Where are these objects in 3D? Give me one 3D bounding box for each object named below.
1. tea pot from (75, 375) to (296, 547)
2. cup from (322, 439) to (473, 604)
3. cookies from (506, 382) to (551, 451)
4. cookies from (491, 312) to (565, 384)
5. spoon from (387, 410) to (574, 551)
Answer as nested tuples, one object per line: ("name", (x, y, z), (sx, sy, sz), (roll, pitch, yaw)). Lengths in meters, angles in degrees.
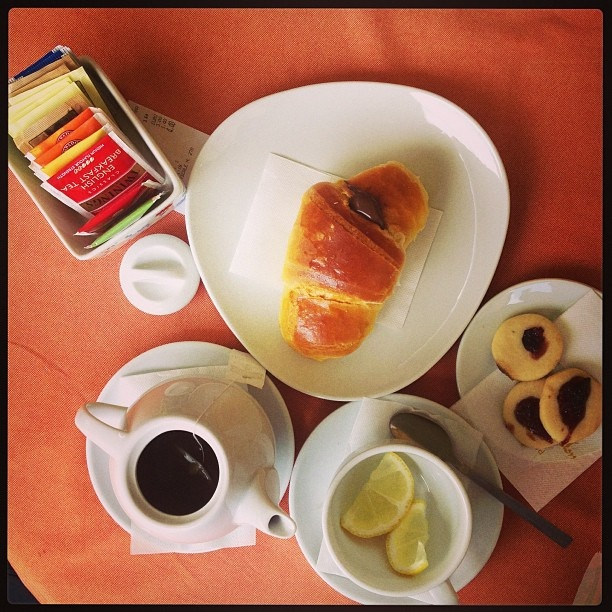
("tea pot", (-0.166, 0.221, 0.875), (0.300, 0.111, 0.227), (29, 79, -6))
("cup", (0.131, 0.316, 0.857), (0.212, 0.123, 0.214), (0, 82, 0))
("cookies", (0.386, 0.198, 1.001), (0.123, 0.031, 0.129), (0, 83, -24))
("cookies", (0.383, 0.071, 0.991), (0.113, 0.039, 0.115), (34, 83, 4))
("spoon", (0.282, 0.279, 0.943), (0.386, 0.020, 0.070), (39, 82, -5))
